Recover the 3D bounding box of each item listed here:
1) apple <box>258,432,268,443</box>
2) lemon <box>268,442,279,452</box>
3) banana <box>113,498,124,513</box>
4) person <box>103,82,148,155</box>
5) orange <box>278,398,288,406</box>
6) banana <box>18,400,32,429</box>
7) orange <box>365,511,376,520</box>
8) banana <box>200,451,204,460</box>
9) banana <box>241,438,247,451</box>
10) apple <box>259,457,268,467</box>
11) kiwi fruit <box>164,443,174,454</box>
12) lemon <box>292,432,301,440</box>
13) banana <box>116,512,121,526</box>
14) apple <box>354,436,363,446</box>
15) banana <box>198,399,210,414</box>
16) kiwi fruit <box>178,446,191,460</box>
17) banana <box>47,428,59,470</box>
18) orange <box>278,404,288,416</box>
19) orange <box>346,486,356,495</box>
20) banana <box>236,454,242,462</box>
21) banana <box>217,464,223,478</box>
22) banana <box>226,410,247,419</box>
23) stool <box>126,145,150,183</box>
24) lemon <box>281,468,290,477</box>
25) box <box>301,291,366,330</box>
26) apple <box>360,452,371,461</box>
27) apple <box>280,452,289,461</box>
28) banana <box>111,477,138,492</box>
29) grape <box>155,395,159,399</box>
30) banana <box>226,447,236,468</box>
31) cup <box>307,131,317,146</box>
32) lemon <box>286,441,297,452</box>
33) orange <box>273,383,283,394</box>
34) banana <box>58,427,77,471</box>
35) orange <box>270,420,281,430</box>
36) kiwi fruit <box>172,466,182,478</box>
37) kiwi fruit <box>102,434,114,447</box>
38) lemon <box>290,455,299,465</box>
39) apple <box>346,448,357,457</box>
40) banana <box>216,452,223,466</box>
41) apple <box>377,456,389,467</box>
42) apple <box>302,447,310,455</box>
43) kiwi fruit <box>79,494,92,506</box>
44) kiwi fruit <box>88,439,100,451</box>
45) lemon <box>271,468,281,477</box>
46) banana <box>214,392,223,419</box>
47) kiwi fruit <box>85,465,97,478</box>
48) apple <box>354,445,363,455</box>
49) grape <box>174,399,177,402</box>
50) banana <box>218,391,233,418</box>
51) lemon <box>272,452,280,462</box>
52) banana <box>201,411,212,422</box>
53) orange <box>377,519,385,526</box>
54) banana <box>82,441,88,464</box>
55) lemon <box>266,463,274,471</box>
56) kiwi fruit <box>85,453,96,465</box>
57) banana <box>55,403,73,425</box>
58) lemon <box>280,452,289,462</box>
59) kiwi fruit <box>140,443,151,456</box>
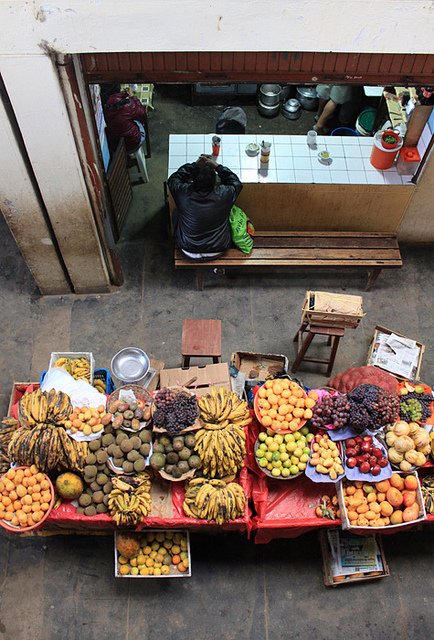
[{"bbox_3d":[0.360,0.945,3.532,0.073,0.076,0.094,10,89,2],"label":"apple"},{"bbox_3d":[0.448,1.001,3.463,0.062,0.067,0.078,20,61,29],"label":"lemon"},{"bbox_3d":[-0.732,1.391,3.254,0.029,0.027,0.107,-30,91,-48],"label":"banana"},{"bbox_3d":[-1.382,-2.803,6.311,0.526,0.824,0.914,10,54,4],"label":"person"},{"bbox_3d":[0.538,0.679,3.577,0.054,0.063,0.058,8,87,-22],"label":"orange"},{"bbox_3d":[-1.490,0.755,3.440,0.045,0.120,0.199,-6,69,-30],"label":"banana"},{"bbox_3d":[1.163,1.498,3.323,0.066,0.055,0.052,-6,24,1],"label":"orange"},{"bbox_3d":[-0.113,1.035,3.294,0.010,0.027,0.046,7,91,-42],"label":"banana"},{"bbox_3d":[0.206,0.981,3.394,0.030,0.023,0.092,-27,101,-48],"label":"banana"},{"bbox_3d":[0.363,1.127,3.435,0.057,0.071,0.059,0,13,6],"label":"apple"},{"bbox_3d":[-0.363,0.978,3.301,0.057,0.075,0.067,2,49,-2],"label":"kiwi fruit"},{"bbox_3d":[0.641,0.936,3.503,0.054,0.068,0.058,12,76,-22],"label":"lemon"},{"bbox_3d":[-0.745,1.515,3.286,0.026,0.031,0.121,4,93,6],"label":"banana"},{"bbox_3d":[1.106,0.961,3.450,0.046,0.048,0.062,-26,96,-22],"label":"apple"},{"bbox_3d":[-0.102,0.665,3.379,0.041,0.034,0.122,-25,66,-9],"label":"banana"},{"bbox_3d":[-0.247,1.007,3.268,0.084,0.059,0.093,-26,60,-20],"label":"kiwi fruit"},{"bbox_3d":[-1.213,0.957,3.248,0.057,0.094,0.305,8,81,-3],"label":"banana"},{"bbox_3d":[0.532,0.733,3.578,0.071,0.079,0.081,14,44,-19],"label":"orange"},{"bbox_3d":[1.034,1.329,3.385,0.057,0.073,0.061,3,22,45],"label":"orange"},{"bbox_3d":[0.170,1.079,3.377,0.052,0.014,0.054,0,82,-45],"label":"banana"},{"bbox_3d":[0.026,1.177,3.370,0.031,0.036,0.113,-11,98,-25],"label":"banana"},{"bbox_3d":[0.155,0.754,3.450,0.170,0.046,0.058,-21,89,-26],"label":"banana"},{"bbox_3d":[-1.267,-2.553,6.932,0.304,0.551,0.463,-8,54,-9],"label":"stool"},{"bbox_3d":[0.531,1.197,3.407,0.054,0.054,0.057,-15,98,-18],"label":"lemon"},{"bbox_3d":[1.243,-0.101,4.713,0.559,0.285,0.384,6,82,2],"label":"box"},{"bbox_3d":[1.139,1.049,3.369,0.058,0.056,0.055,-29,100,-23],"label":"apple"},{"bbox_3d":[0.520,1.072,3.403,0.057,0.070,0.060,-2,41,4],"label":"apple"},{"bbox_3d":[-0.713,1.253,3.312,0.132,0.045,0.089,32,21,-17],"label":"banana"},{"bbox_3d":[-0.488,0.632,3.527,0.012,0.027,0.036,4,83,25],"label":"grape"},{"bbox_3d":[0.101,1.059,3.317,0.047,0.053,0.181,-17,103,-22],"label":"banana"},{"bbox_3d":[1.228,-2.365,5.679,0.143,0.155,0.149,1,77,-3],"label":"cup"},{"bbox_3d":[0.582,1.002,3.436,0.079,0.073,0.065,10,54,4],"label":"lemon"},{"bbox_3d":[0.505,0.580,3.644,0.067,0.071,0.080,-16,35,-18],"label":"orange"},{"bbox_3d":[-1.133,0.981,3.352,0.079,0.192,0.309,-18,57,-16],"label":"banana"},{"bbox_3d":[0.470,0.851,3.489,0.086,0.032,0.060,-17,57,-15],"label":"orange"},{"bbox_3d":[-0.303,1.141,3.286,0.068,0.076,0.075,-25,45,21],"label":"kiwi fruit"},{"bbox_3d":[-0.854,0.946,3.425,0.083,0.059,0.076,-6,55,-8],"label":"kiwi fruit"},{"bbox_3d":[0.604,1.104,3.415,0.059,0.058,0.061,3,23,-7],"label":"lemon"},{"bbox_3d":[1.035,1.035,3.385,0.056,0.054,0.059,-10,53,-5],"label":"apple"},{"bbox_3d":[0.014,1.039,3.262,0.061,0.100,0.022,-4,17,-2],"label":"banana"},{"bbox_3d":[1.264,1.097,3.374,0.068,0.072,0.072,34,69,17],"label":"apple"},{"bbox_3d":[0.698,1.037,3.421,0.039,0.048,0.042,-7,76,12],"label":"apple"},{"bbox_3d":[-1.015,1.397,3.387,0.077,0.044,0.082,35,91,11],"label":"kiwi fruit"},{"bbox_3d":[-0.953,0.982,3.413,0.077,0.042,0.079,41,82,0],"label":"kiwi fruit"},{"bbox_3d":[0.461,1.193,3.410,0.053,0.053,0.054,3,58,35],"label":"lemon"},{"bbox_3d":[0.014,0.658,3.371,0.040,0.060,0.179,7,49,-4],"label":"banana"},{"bbox_3d":[-0.974,1.178,3.385,0.082,0.105,0.073,-1,53,-4],"label":"kiwi fruit"},{"bbox_3d":[1.101,1.025,3.415,0.058,0.055,0.062,-16,81,-3],"label":"apple"},{"bbox_3d":[-0.317,0.621,3.329,0.019,0.011,0.027,-4,55,-7],"label":"grape"},{"bbox_3d":[0.086,0.639,3.464,0.047,0.074,0.285,20,68,-2],"label":"banana"},{"bbox_3d":[0.457,1.066,3.389,0.054,0.057,0.057,-1,43,-15],"label":"lemon"},{"bbox_3d":[-0.089,0.749,3.360,0.097,0.066,0.044,27,57,16],"label":"banana"},{"bbox_3d":[1.241,1.548,3.315,0.035,0.035,0.036,2,80,-28],"label":"orange"},{"bbox_3d":[-1.011,1.036,3.374,0.033,0.076,0.131,8,79,-47],"label":"banana"},{"bbox_3d":[0.415,1.170,3.484,0.047,0.057,0.047,37,41,7],"label":"lemon"},{"bbox_3d":[-0.978,1.088,3.383,0.079,0.072,0.067,-6,54,-8],"label":"kiwi fruit"},{"bbox_3d":[-1.199,0.763,3.461,0.045,0.117,0.115,36,96,-2],"label":"banana"},{"bbox_3d":[0.525,1.074,3.401,0.054,0.066,0.057,-2,34,7],"label":"lemon"},{"bbox_3d":[-0.554,1.005,3.370,0.080,0.060,0.081,1,54,-3],"label":"kiwi fruit"}]
